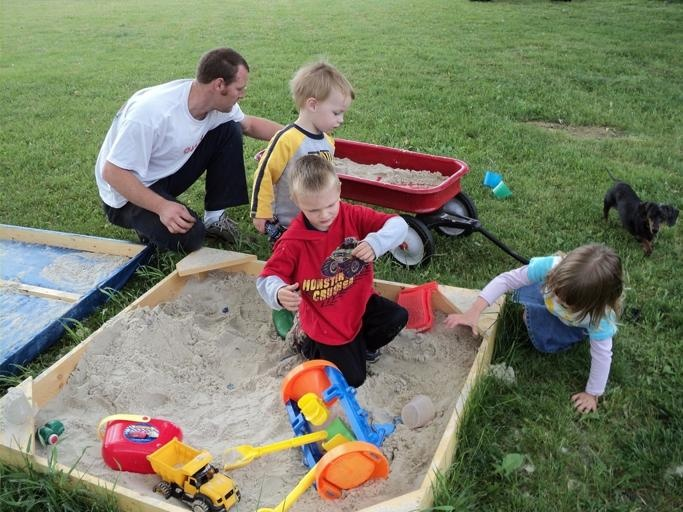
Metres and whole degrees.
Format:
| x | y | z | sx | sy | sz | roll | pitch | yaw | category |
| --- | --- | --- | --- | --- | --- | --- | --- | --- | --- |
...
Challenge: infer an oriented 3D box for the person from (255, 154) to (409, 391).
| x | y | z | sx | sy | sz | roll | pitch | yaw | category |
| --- | --- | --- | --- | --- | --- | --- | --- | --- | --- |
| 0.000 | 0.118 | 3.868 | 0.891 | 1.329 | 0.936 | 14 | 47 | 17 | person |

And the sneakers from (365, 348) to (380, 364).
| x | y | z | sx | sy | sz | roll | pitch | yaw | category |
| --- | --- | --- | --- | --- | --- | --- | --- | --- | --- |
| 0.226 | 0.705 | 4.159 | 0.147 | 0.070 | 0.051 | -21 | 40 | -20 | sneakers |

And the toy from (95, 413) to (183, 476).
| x | y | z | sx | sy | sz | roll | pitch | yaw | category |
| --- | --- | --- | --- | --- | --- | --- | --- | --- | --- |
| -1.180 | 1.095 | 3.461 | 0.464 | 0.159 | 0.295 | 4 | 59 | -10 | toy |

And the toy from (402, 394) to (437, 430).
| x | y | z | sx | sy | sz | roll | pitch | yaw | category |
| --- | --- | --- | --- | --- | --- | --- | --- | --- | --- |
| 0.490 | 0.972 | 3.715 | 0.187 | 0.210 | 0.153 | 36 | 19 | 29 | toy |

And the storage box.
| x | y | z | sx | sy | sz | roll | pitch | yaw | category |
| --- | --- | --- | --- | --- | --- | --- | --- | --- | --- |
| -1.203 | 1.093 | 3.458 | 0.464 | 0.159 | 0.295 | 5 | 55 | -11 | storage box |

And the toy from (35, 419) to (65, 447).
| x | y | z | sx | sy | sz | roll | pitch | yaw | category |
| --- | --- | --- | --- | --- | --- | --- | --- | --- | --- |
| -1.815 | 1.102 | 3.587 | 0.164 | 0.081 | 0.148 | -14 | 46 | -12 | toy |

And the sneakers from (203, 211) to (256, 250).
| x | y | z | sx | sy | sz | roll | pitch | yaw | category |
| --- | --- | --- | --- | --- | --- | --- | --- | --- | --- |
| -1.077 | -0.211 | 5.339 | 0.585 | 0.204 | 0.262 | 6 | 83 | 21 | sneakers |

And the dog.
| x | y | z | sx | sy | sz | roll | pitch | yaw | category |
| --- | --- | --- | --- | --- | --- | --- | --- | --- | --- |
| 2.654 | -0.418 | 5.401 | 0.307 | 0.480 | 1.203 | -15 | 40 | 5 | dog |

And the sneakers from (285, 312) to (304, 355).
| x | y | z | sx | sy | sz | roll | pitch | yaw | category |
| --- | --- | --- | --- | --- | --- | --- | --- | --- | --- |
| -0.315 | 0.555 | 4.092 | 0.105 | 0.203 | 0.320 | 2 | 25 | -2 | sneakers |

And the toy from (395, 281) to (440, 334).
| x | y | z | sx | sy | sz | roll | pitch | yaw | category |
| --- | --- | --- | --- | --- | --- | --- | --- | --- | --- |
| 0.556 | 0.372 | 4.217 | 0.109 | 0.345 | 0.317 | -1 | -8 | -41 | toy |
